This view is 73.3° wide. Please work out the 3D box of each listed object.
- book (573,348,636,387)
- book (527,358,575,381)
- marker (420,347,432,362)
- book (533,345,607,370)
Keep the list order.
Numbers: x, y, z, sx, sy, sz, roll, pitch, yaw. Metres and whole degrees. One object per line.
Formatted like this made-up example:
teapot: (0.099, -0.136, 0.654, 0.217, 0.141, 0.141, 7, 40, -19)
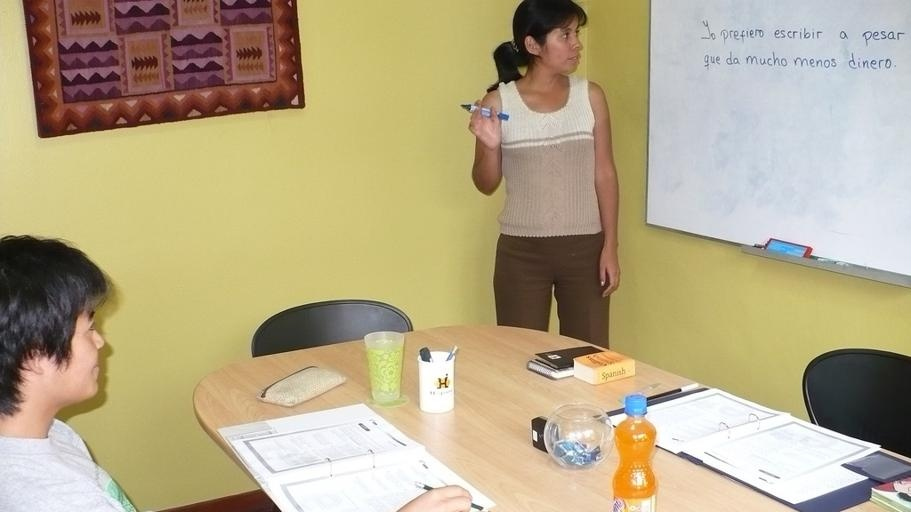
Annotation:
book: (0.512, 0.375, 2.203, 0.158, 0.053, 0.114, -8, 13, -32)
book: (0.347, 0.420, 2.261, 0.091, 0.020, 0.086, -6, 11, -35)
marker: (-0.103, 0.334, 2.078, 0.036, 0.046, 0.011, 4, -17, 2)
book: (0.415, 0.373, 2.300, 0.154, 0.033, 0.109, -7, 10, -35)
